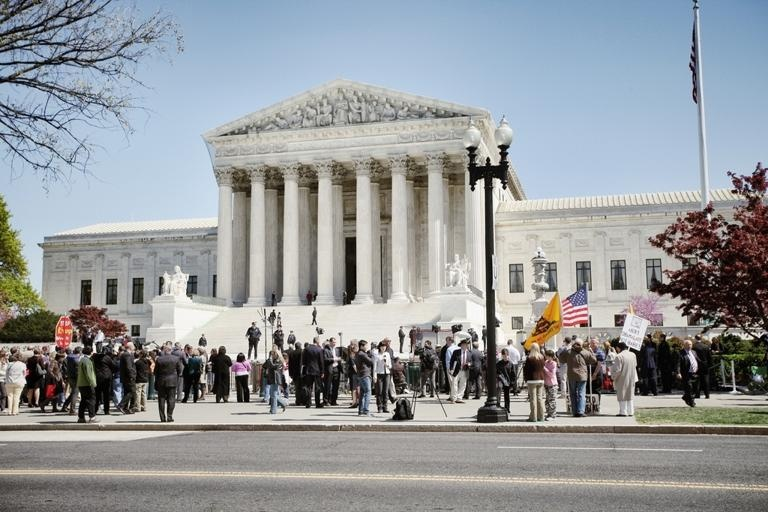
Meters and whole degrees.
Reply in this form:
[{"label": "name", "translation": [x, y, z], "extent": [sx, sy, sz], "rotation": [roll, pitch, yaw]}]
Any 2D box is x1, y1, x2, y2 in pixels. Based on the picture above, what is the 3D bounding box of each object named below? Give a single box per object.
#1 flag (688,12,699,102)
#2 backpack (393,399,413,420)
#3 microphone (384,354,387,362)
[{"label": "flag", "translation": [15.417, -9.425, 45.497], "extent": [0.424, 4.446, 3.610], "rotation": [-4, -10, 19]}, {"label": "backpack", "translation": [0.595, 4.955, 29.738], "extent": [0.660, 0.694, 0.480], "rotation": [-1, -9, 0]}, {"label": "microphone", "translation": [0.038, 3.697, 32.833], "extent": [0.030, 0.212, 0.171], "rotation": [-7, -11, 32]}]
